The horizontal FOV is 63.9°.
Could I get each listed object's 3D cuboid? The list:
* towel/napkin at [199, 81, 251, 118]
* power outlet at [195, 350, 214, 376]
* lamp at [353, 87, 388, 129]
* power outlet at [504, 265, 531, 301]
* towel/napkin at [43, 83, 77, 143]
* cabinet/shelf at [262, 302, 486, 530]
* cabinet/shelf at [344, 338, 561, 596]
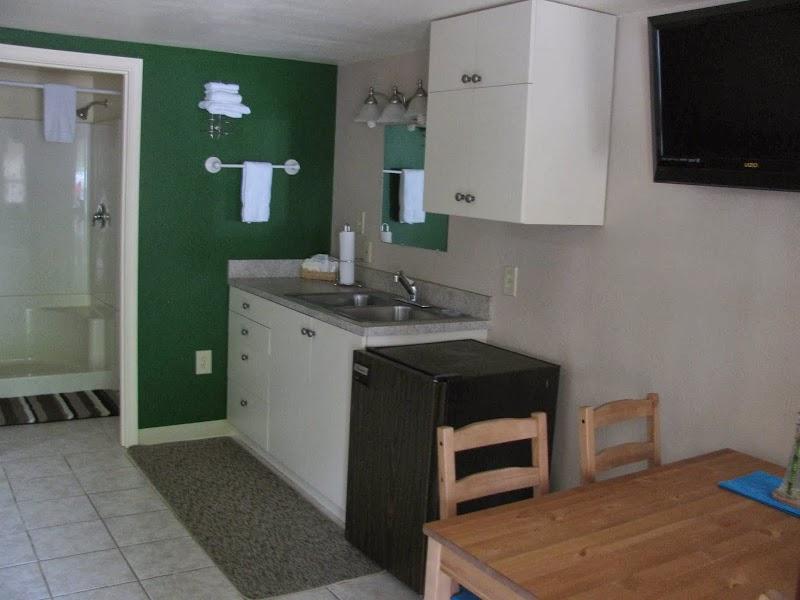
[{"bbox_3d":[-1.164,-1.330,4.243,0.334,0.215,0.174,-1,10,-17],"label":"towel/napkin"},{"bbox_3d":[-1.365,0.425,4.444,0.168,0.240,0.023,-4,10,-36],"label":"power outlet"},{"bbox_3d":[-0.215,-1.217,4.085,0.230,0.282,0.268,11,13,37],"label":"lamp"},{"bbox_3d":[0.575,-0.099,3.264,0.044,0.192,0.122,2,2,-35],"label":"power outlet"},{"bbox_3d":[-2.617,-1.441,4.924,0.208,0.403,0.259,-3,11,-31],"label":"towel/napkin"},{"bbox_3d":[-0.205,0.509,3.906,1.002,1.409,1.454,0,9,-24],"label":"cabinet/shelf"},{"bbox_3d":[0.077,0.711,3.508,1.002,1.509,1.000,-4,12,-28],"label":"cabinet/shelf"}]
